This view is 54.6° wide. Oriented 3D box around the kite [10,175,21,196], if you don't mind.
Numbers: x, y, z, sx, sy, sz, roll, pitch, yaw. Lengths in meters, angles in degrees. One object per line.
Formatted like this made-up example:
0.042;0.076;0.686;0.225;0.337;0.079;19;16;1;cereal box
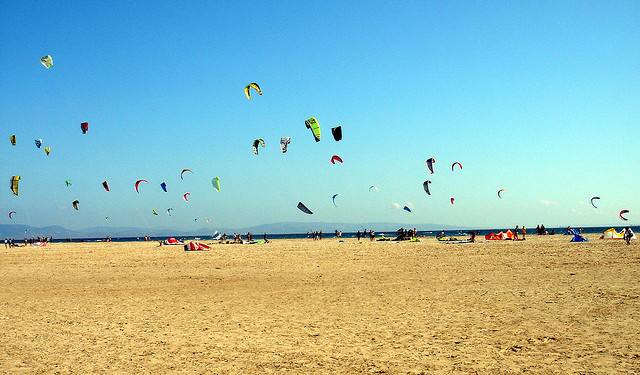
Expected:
-12.878;-0.068;26.184;0.314;0.884;0.628;4;-3;-15;kite

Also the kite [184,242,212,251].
-7.243;3.516;36.501;0.918;0.362;0.903;0;-6;-19;kite

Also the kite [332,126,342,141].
0.815;-2.431;28.446;0.323;0.625;0.720;1;-7;-8;kite

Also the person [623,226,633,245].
17.231;2.709;34.497;0.401;0.975;3.135;-4;-7;26;person

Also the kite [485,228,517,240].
12.268;3.239;41.603;1.578;0.623;2.359;-5;-8;39;kite
